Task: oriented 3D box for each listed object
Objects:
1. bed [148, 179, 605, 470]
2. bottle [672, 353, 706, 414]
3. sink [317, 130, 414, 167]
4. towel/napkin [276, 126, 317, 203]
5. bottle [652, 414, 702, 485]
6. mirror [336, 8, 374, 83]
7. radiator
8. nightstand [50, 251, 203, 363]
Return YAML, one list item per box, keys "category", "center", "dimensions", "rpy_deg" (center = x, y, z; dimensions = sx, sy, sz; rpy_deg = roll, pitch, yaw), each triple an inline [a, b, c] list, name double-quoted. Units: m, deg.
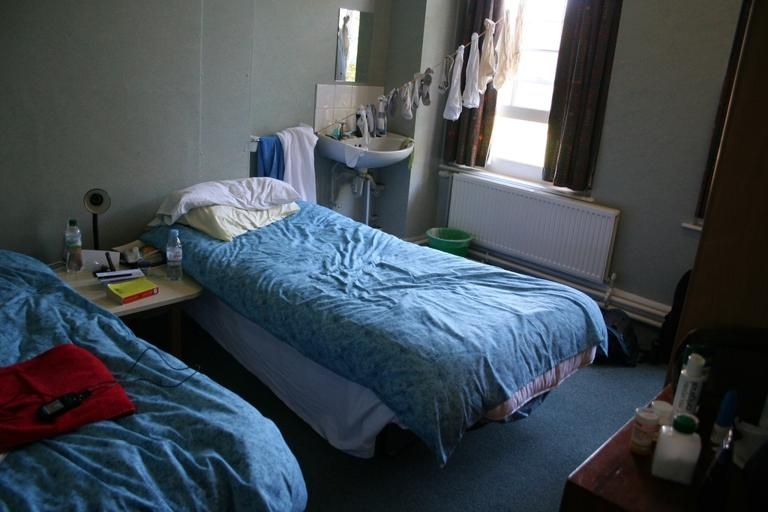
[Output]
- category: "bed"
  center: [-0.282, 0.217, 3.296]
  dimensions: [2.511, 0.878, 1.510]
  rpy_deg: [26, 33, 36]
- category: "bottle"
  center: [1.067, 0.481, 1.913]
  dimensions: [0.077, 0.297, 0.078]
  rpy_deg: [-2, 25, 1]
- category: "sink"
  center: [-0.142, -0.899, 4.800]
  dimensions: [0.858, 0.307, 0.500]
  rpy_deg: [-8, 24, -28]
- category: "towel/napkin"
  center: [-0.737, -0.785, 4.591]
  dimensions: [0.349, 0.617, 0.154]
  rpy_deg: [-18, 33, -41]
- category: "bottle"
  center: [0.955, 0.638, 1.839]
  dimensions: [0.136, 0.191, 0.237]
  rpy_deg: [9, 18, 19]
- category: "mirror"
  center: [-0.257, -1.832, 4.774]
  dimensions: [0.020, 0.536, 0.459]
  rpy_deg: [17, 24, 37]
- category: "radiator"
  center: [1.277, -0.291, 4.815]
  dimensions: [1.472, 0.636, 0.187]
  rpy_deg: [20, 34, 33]
- category: "nightstand"
  center: [-1.527, 0.179, 3.457]
  dimensions: [0.809, 0.759, 0.755]
  rpy_deg: [20, 22, 40]
